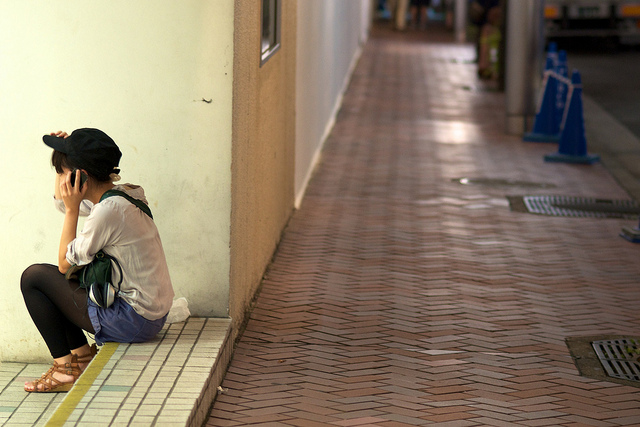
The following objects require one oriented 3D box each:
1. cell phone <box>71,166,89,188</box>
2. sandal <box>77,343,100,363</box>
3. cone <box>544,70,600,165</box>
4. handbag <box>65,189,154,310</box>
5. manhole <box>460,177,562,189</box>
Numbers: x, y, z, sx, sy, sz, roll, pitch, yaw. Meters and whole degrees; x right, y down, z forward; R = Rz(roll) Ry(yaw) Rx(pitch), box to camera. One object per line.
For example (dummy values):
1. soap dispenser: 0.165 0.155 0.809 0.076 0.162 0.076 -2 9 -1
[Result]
1. cell phone: -1.531 -0.233 4.195 0.035 0.108 0.116 27 74 44
2. sandal: -1.591 0.959 4.510 0.116 0.119 0.097 9 3 -5
3. cone: 3.821 -1.457 10.006 0.733 1.468 0.844 0 10 4
4. handbag: -1.343 0.241 4.485 0.566 0.777 0.299 19 4 18
5. manhole: 2.624 -0.435 9.174 1.341 0.040 0.442 3 25 5
